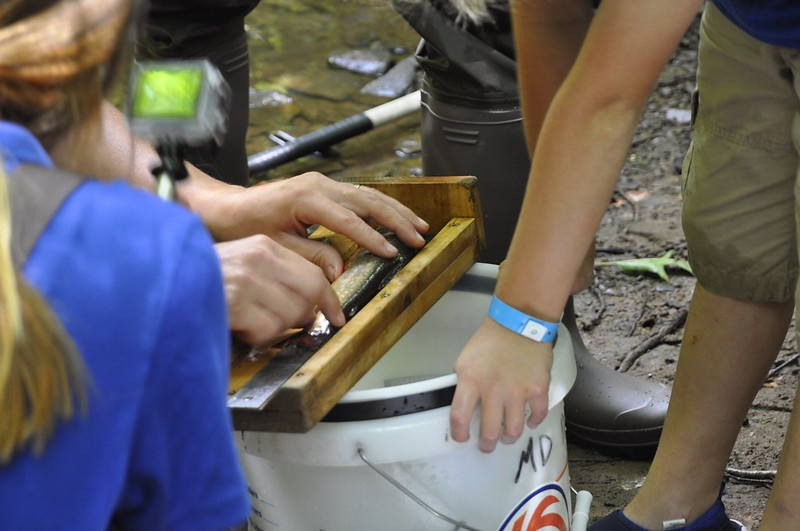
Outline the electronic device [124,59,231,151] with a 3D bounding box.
[{"bbox_3d":[-0.144,-0.106,0.495,0.051,0.042,0.058,4,75,3],"label":"electronic device"}]
